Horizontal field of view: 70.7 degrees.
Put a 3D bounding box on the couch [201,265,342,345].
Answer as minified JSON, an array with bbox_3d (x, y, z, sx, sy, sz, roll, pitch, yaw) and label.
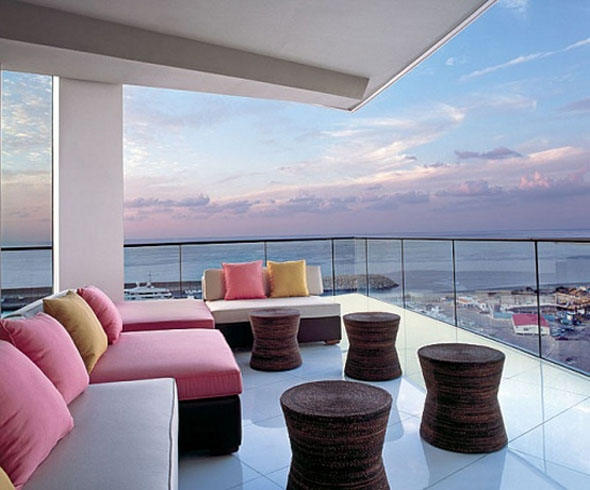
[{"bbox_3d":[-0.286,0.810,4.924,1.364,0.932,0.945,1,-8,-16],"label":"couch"}]
